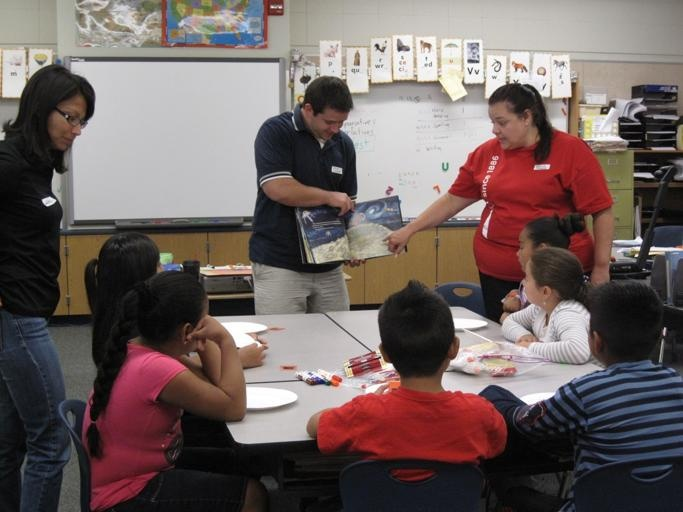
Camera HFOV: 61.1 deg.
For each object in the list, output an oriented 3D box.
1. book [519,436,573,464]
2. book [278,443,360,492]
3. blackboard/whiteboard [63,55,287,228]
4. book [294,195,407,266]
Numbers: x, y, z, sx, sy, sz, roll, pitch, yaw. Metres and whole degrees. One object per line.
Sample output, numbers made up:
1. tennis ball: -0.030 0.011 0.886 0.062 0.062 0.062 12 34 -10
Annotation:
1. book: 0.613 0.556 1.699 0.119 0.052 0.158 -1 0 -15
2. book: -0.062 0.577 1.582 0.189 0.073 0.194 0 1 -8
3. blackboard/whiteboard: -1.437 -0.993 4.761 1.605 1.198 0.059 0 2 -7
4. book: 0.033 -0.117 2.714 0.488 0.332 0.125 -6 -14 -29
